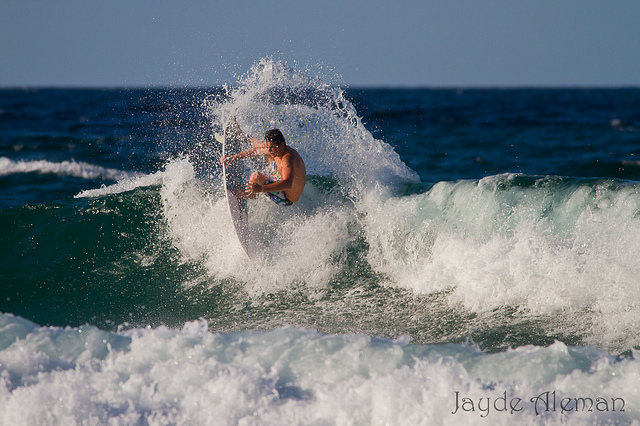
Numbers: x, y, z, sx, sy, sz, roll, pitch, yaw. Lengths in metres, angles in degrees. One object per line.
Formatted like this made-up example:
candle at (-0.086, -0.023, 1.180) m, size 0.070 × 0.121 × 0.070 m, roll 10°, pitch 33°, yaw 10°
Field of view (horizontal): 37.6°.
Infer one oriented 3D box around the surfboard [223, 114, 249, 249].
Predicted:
surfboard at (-1.836, -0.686, 20.860) m, size 0.600 × 2.922 × 0.431 m, roll -6°, pitch -4°, yaw -13°
